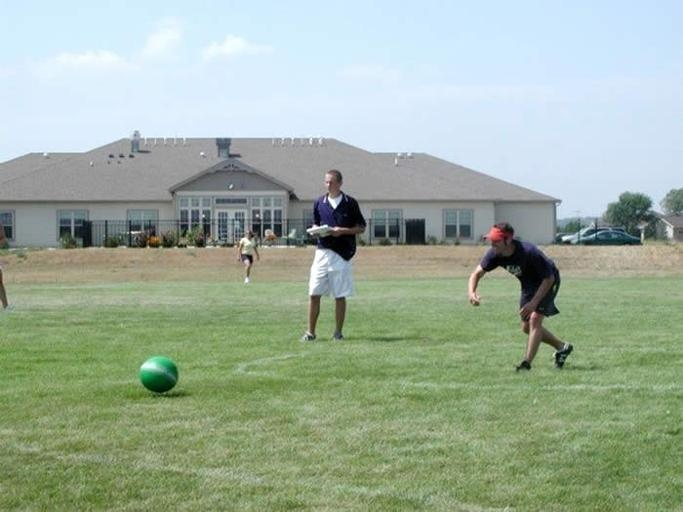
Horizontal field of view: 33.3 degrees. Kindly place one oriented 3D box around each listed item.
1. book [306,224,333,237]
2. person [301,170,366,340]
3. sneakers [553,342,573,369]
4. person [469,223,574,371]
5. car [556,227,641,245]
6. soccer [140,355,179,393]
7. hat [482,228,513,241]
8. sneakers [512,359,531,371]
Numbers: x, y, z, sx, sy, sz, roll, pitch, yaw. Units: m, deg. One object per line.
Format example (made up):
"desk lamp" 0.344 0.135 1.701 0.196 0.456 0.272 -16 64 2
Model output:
"book" -0.307 -0.344 15.937 0.327 0.164 0.451 1 2 -6
"person" -0.119 -0.011 16.195 0.839 2.384 1.013 1 2 -2
"sneakers" 2.720 1.230 14.069 0.169 0.409 0.134 23 -7 -19
"person" 2.202 0.495 13.904 1.271 1.769 0.606 1 2 -15
"car" 12.734 -0.912 55.001 2.984 0.901 1.685 2 0 -2
"soccer" -2.049 1.281 12.795 0.391 0.389 0.383 -30 20 -34
"hat" 1.878 -0.255 13.629 0.302 0.168 0.249 1 2 7
"sneakers" 2.194 1.324 13.945 0.173 0.182 0.108 -4 35 -7
